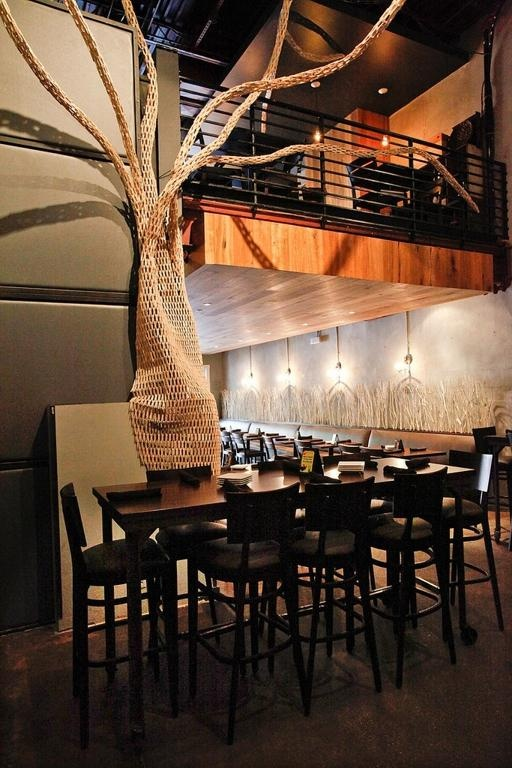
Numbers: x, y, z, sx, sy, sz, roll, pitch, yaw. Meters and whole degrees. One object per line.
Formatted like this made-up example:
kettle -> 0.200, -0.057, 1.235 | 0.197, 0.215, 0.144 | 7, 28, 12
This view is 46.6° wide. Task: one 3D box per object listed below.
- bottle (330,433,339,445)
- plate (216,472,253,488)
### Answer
bottle -> 1.071, 0.723, 8.004 | 0.078, 0.188, 0.187 | 0, 2, -13
plate -> -0.099, 0.457, 2.765 | 0.159, 0.060, 0.312 | -1, 1, -4
